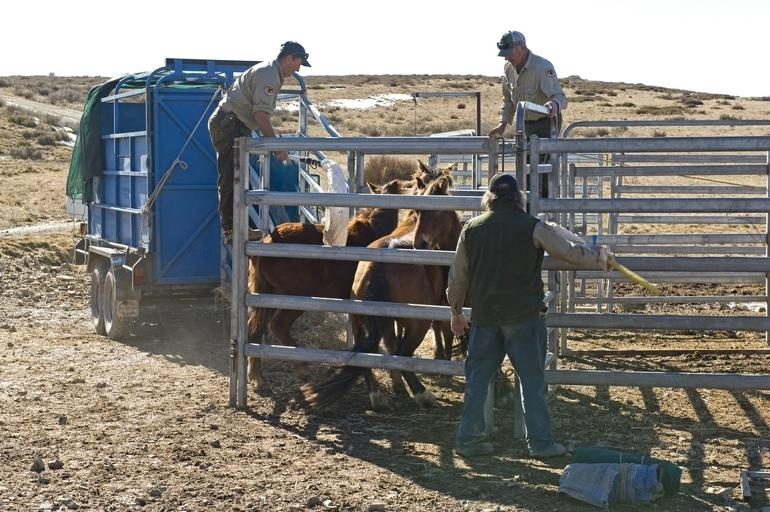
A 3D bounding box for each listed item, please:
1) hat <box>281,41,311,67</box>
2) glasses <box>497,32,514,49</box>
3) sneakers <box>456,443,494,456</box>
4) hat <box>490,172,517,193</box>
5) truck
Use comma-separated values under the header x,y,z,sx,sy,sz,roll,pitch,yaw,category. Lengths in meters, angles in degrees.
x,y,z,sx,sy,sz,roll,pitch,yaw,category
-1.107,-2.529,11.691,0.333,0.291,0.400,0,5,-8,hat
1.531,-2.717,11.820,0.172,0.217,0.127,1,5,1,glasses
0.956,2.024,9.879,0.442,0.175,0.143,-2,5,-14,sneakers
1.220,-0.771,9.629,0.289,0.194,0.252,1,5,7,hat
-3.183,-1.169,15.572,3.512,4.059,5.207,-3,8,-28,truck
